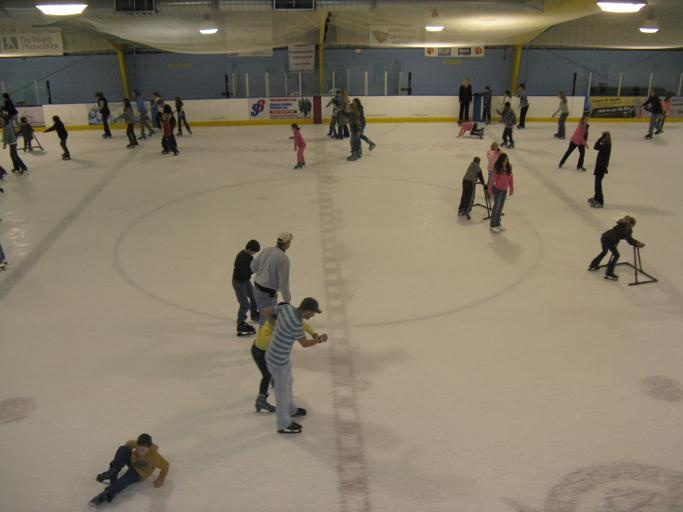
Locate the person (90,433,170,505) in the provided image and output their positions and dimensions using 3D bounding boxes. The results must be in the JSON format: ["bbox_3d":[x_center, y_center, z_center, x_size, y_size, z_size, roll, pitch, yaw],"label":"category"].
[{"bbox_3d":[-3.072,3.065,8.660,0.825,0.620,1.089,44,37,18],"label":"person"}]

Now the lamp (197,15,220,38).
[{"bbox_3d":[-4.816,-8.302,21.165,0.600,0.627,0.915,-1,21,-2],"label":"lamp"}]

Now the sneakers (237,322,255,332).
[{"bbox_3d":[-2.051,1.504,12.544,0.354,0.239,0.169,-4,12,-13],"label":"sneakers"}]

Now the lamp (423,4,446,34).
[{"bbox_3d":[3.535,-8.920,22.367,0.545,0.725,0.566,0,8,3],"label":"lamp"}]

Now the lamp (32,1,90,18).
[{"bbox_3d":[-7.492,-6.503,15.613,1.005,0.260,1.560,-16,26,-34],"label":"lamp"}]

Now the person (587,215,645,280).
[{"bbox_3d":[6.534,-0.268,14.214,0.981,1.597,1.630,7,22,21],"label":"person"}]

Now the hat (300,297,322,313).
[{"bbox_3d":[-0.458,0.767,9.212,0.328,0.193,0.235,-2,20,-43],"label":"hat"}]

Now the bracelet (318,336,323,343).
[{"bbox_3d":[-0.355,1.307,9.345,0.063,0.148,0.136,-2,21,-2],"label":"bracelet"}]

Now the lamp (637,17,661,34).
[{"bbox_3d":[12.173,-9.043,23.306,0.633,0.477,1.998,10,24,26],"label":"lamp"}]

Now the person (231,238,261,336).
[{"bbox_3d":[-2.010,0.745,12.254,0.733,2.078,0.693,-1,53,-13],"label":"person"}]

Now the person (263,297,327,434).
[{"bbox_3d":[-0.838,1.953,10.078,0.977,2.141,0.862,-8,45,-18],"label":"person"}]
